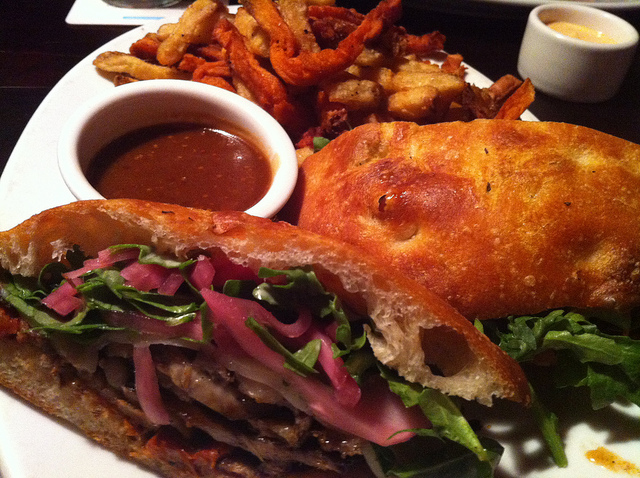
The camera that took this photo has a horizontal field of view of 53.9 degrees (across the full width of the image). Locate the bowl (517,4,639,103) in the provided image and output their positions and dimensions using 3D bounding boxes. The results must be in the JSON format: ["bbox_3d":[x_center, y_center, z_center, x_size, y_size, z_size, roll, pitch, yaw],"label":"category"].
[{"bbox_3d":[1.906,-1.410,4.761,0.576,0.591,0.705,-26,62,-15],"label":"bowl"}]

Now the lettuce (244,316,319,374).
[{"bbox_3d":[-0.139,0.386,2.314,0.290,0.059,0.043,41,96,-17],"label":"lettuce"}]

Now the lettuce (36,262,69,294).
[{"bbox_3d":[-1.064,0.146,2.478,0.048,0.096,0.112,-29,47,-17],"label":"lettuce"}]

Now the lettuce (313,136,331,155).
[{"bbox_3d":[-0.002,-0.498,3.323,0.086,0.034,0.079,1,90,3],"label":"lettuce"}]
